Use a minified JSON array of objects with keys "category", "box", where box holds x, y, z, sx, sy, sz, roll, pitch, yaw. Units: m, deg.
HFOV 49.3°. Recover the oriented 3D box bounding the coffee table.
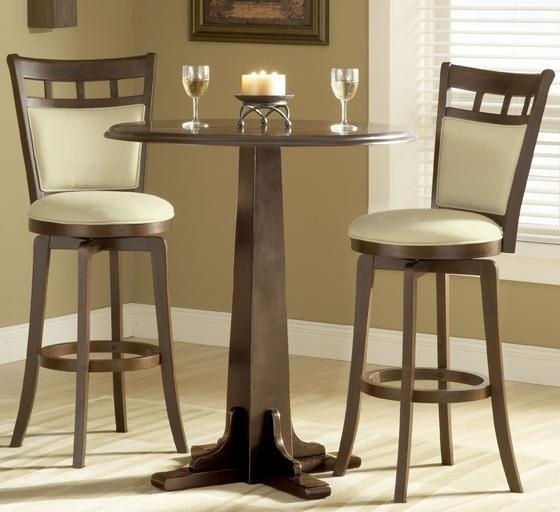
[{"category":"coffee table","box":[0.030,0.151,1.845,0.927,1.011,0.917,-2,3,-33]}]
